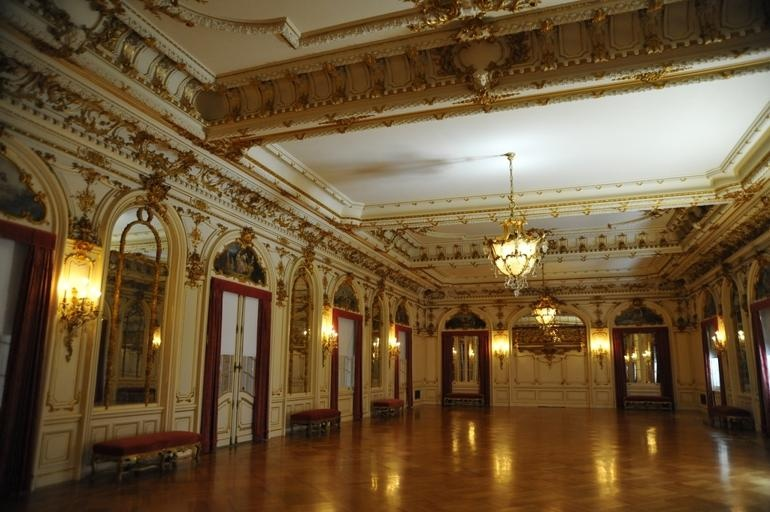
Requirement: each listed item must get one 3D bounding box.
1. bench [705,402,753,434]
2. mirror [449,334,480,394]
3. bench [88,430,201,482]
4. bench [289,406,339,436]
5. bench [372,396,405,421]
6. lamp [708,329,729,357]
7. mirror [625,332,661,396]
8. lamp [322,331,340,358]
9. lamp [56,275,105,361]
[{"bbox_3d":[9.443,4.359,13.888,0.785,0.555,1.054,-2,-5,-7],"label":"bench"},{"bbox_3d":[3.437,4.525,21.900,1.180,2.385,0.337,-2,-9,15],"label":"mirror"},{"bbox_3d":[-3.957,3.250,8.555,0.742,0.603,1.534,-4,-11,29],"label":"bench"},{"bbox_3d":[-1.708,4.051,12.788,0.689,0.541,1.494,-4,-10,26],"label":"bench"},{"bbox_3d":[0.071,4.849,16.632,0.834,0.521,1.465,-2,-10,16],"label":"bench"},{"bbox_3d":[10.343,2.634,15.988,0.201,0.727,1.904,-4,-10,26],"label":"lamp"},{"bbox_3d":[10.313,4.257,20.686,1.250,2.442,0.655,-5,-11,33],"label":"mirror"},{"bbox_3d":[-1.470,2.358,13.880,0.269,0.746,0.798,-4,-7,20],"label":"lamp"},{"bbox_3d":[-4.777,1.001,8.008,0.524,1.202,0.207,8,-11,-38],"label":"lamp"}]
